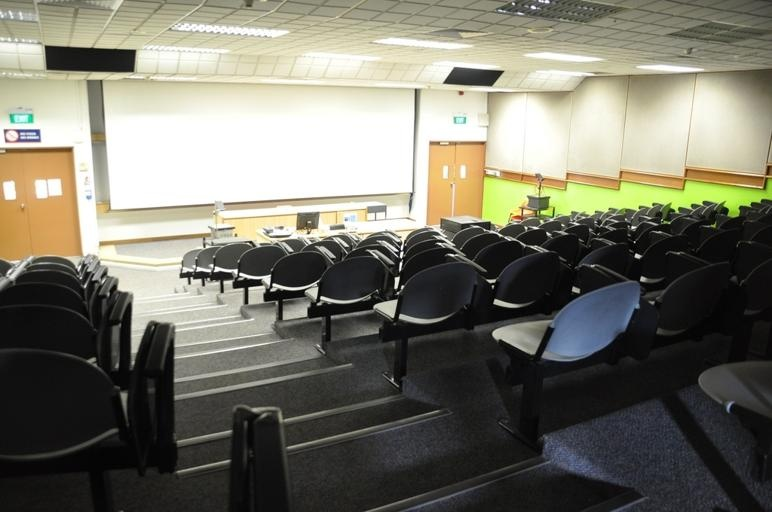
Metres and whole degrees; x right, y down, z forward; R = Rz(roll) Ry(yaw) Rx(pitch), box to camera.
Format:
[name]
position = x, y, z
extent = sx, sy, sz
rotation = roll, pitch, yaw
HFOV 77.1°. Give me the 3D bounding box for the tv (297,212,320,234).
[tv]
position = -1.734, -0.730, 10.771
extent = 0.565, 0.431, 0.194
rotation = -3, 27, -17
